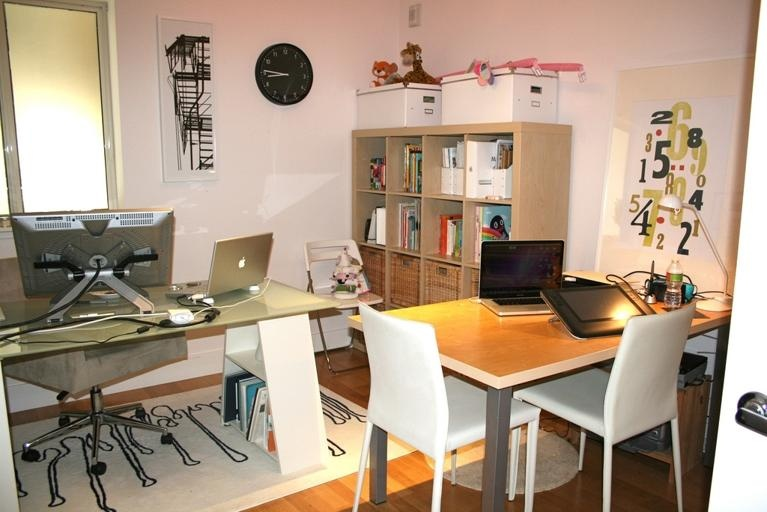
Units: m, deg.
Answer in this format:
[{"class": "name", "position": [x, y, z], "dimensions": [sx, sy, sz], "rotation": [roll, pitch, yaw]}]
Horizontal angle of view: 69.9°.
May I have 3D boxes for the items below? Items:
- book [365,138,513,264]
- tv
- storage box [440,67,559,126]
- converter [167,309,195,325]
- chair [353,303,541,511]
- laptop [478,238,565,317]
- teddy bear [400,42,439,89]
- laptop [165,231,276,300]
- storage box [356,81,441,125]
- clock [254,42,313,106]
[{"class": "book", "position": [0.492, -0.452, 4.495], "dimensions": [0.323, 0.874, 1.056], "rotation": [-5, 9, -37]}, {"class": "tv", "position": [-1.714, 0.052, 3.247], "dimensions": [0.637, 0.443, 0.273], "rotation": [-3, 17, -20]}, {"class": "storage box", "position": [0.975, -1.275, 4.507], "dimensions": [0.618, 0.454, 1.061], "rotation": [0, 11, 35]}, {"class": "converter", "position": [-1.180, 0.341, 3.177], "dimensions": [0.103, 0.024, 0.097], "rotation": [-3, 15, -25]}, {"class": "chair", "position": [0.256, 0.830, 2.819], "dimensions": [0.738, 1.190, 0.492], "rotation": [-5, 12, -21]}, {"class": "laptop", "position": [0.879, 0.091, 3.642], "dimensions": [0.635, 0.434, 0.433], "rotation": [-1, 14, -4]}, {"class": "teddy bear", "position": [0.307, -1.709, 4.907], "dimensions": [0.398, 0.381, 0.407], "rotation": [-6, 17, -30]}, {"class": "laptop", "position": [-1.069, -0.054, 3.624], "dimensions": [0.482, 0.419, 0.583], "rotation": [11, 12, 33]}, {"class": "storage box", "position": [0.113, -1.311, 4.842], "dimensions": [0.835, 0.366, 0.428], "rotation": [2, 11, 14]}, {"class": "clock", "position": [-0.878, -1.585, 4.807], "dimensions": [0.499, 0.498, 0.116], "rotation": [-33, 32, -12]}]
